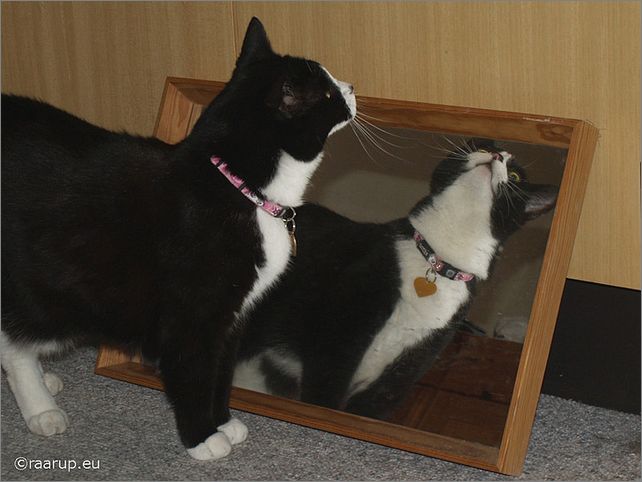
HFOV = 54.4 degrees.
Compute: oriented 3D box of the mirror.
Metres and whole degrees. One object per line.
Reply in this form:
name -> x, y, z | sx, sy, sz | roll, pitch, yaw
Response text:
mirror -> 0.062, 0.087, 1.397 | 0.871, 0.568, 0.068 | 18, -5, 15
